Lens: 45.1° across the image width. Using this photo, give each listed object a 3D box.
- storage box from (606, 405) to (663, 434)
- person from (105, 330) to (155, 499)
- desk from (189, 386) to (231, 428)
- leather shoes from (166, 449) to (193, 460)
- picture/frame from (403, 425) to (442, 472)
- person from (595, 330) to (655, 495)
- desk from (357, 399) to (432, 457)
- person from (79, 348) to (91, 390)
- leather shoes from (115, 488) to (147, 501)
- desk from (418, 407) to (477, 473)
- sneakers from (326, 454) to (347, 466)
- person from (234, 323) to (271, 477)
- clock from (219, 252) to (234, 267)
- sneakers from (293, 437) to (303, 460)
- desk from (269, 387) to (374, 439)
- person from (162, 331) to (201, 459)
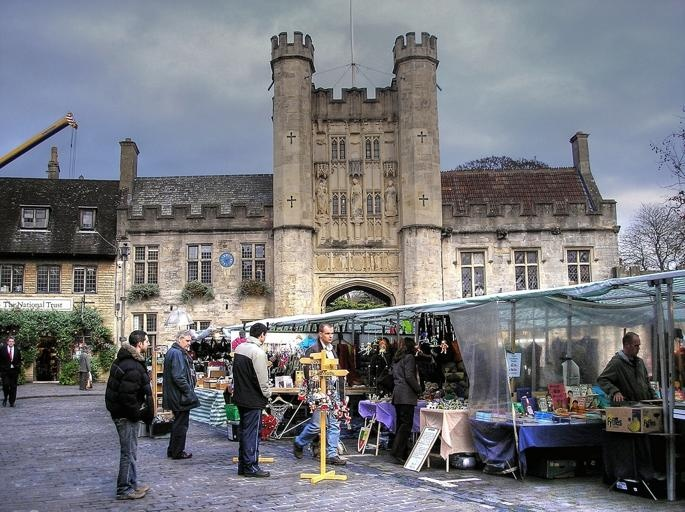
[{"bbox_3d":[4.911,2.752,13.968,0.716,0.313,0.506,6,-10,-41],"label":"storage box"},{"bbox_3d":[-3.503,2.571,13.445,0.745,2.708,0.491,4,-9,-26],"label":"person"},{"bbox_3d":[-3.076,3.637,19.735,1.012,0.647,1.324,6,-10,-34],"label":"desk"},{"bbox_3d":[-3.150,3.833,16.051,0.544,0.229,0.180,1,-1,-31],"label":"leather shoes"},{"bbox_3d":[1.465,3.591,15.469,0.674,0.796,0.549,-1,-8,4],"label":"picture/frame"},{"bbox_3d":[4.961,2.638,14.479,0.912,2.594,1.156,-3,-9,19],"label":"person"},{"bbox_3d":[1.173,3.631,17.326,1.079,1.066,1.556,1,-10,23],"label":"desk"},{"bbox_3d":[-9.863,4.323,31.379,0.412,1.433,1.069,2,-8,-18],"label":"person"},{"bbox_3d":[-3.453,3.854,13.410,0.421,0.169,0.176,-2,-2,-12],"label":"leather shoes"},{"bbox_3d":[2.005,3.462,15.782,1.063,0.857,1.033,5,-10,-29],"label":"desk"},{"bbox_3d":[-0.140,3.801,15.405,0.412,0.182,0.158,3,-3,-4],"label":"sneakers"},{"bbox_3d":[-1.647,2.538,14.674,0.671,2.706,0.455,0,-8,-6],"label":"person"},{"bbox_3d":[-4.801,0.150,33.746,0.581,0.632,0.099,-2,-8,14],"label":"clock"},{"bbox_3d":[-0.899,3.707,15.953,0.190,0.424,0.171,-4,-2,27],"label":"sneakers"},{"bbox_3d":[-0.465,3.211,16.951,1.718,0.862,2.721,-1,4,-9],"label":"desk"},{"bbox_3d":[-3.222,2.707,16.126,0.634,2.439,0.284,1,-8,-12],"label":"person"}]
